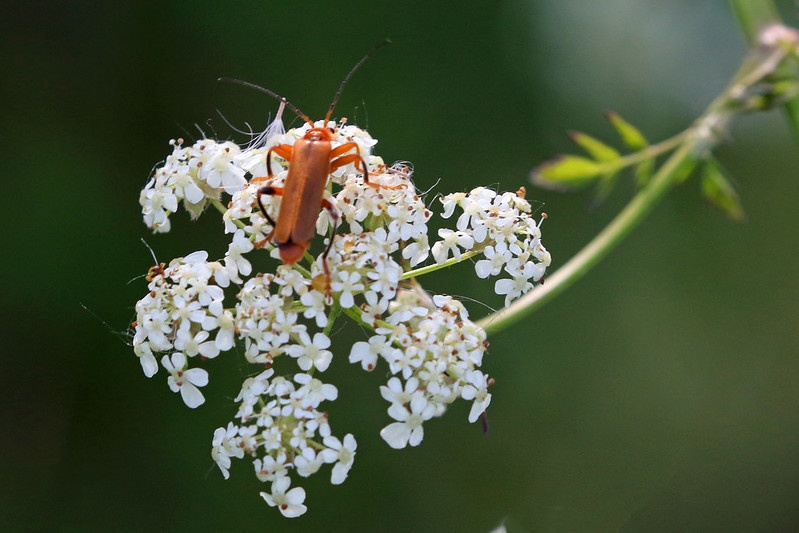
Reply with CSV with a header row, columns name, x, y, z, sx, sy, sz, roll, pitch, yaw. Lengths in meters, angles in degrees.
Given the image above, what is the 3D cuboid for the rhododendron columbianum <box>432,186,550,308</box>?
name,x,y,z,sx,sy,sz,roll,pitch,yaw
rhododendron columbianum,0.407,-0.116,3.258,0.434,0.483,0.196,-17,-9,-10
